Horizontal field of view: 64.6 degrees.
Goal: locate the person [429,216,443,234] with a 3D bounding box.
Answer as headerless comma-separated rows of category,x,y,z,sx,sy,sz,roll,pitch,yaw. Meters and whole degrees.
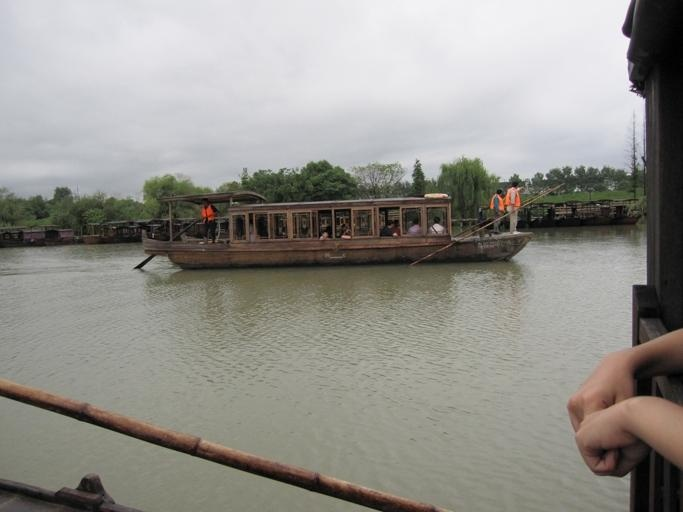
person,3.700,-1.203,20.906,0.590,0.685,0.703,-1,8,10

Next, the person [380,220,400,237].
person,1.907,-1.116,21.365,0.760,0.579,1.324,-2,7,6
